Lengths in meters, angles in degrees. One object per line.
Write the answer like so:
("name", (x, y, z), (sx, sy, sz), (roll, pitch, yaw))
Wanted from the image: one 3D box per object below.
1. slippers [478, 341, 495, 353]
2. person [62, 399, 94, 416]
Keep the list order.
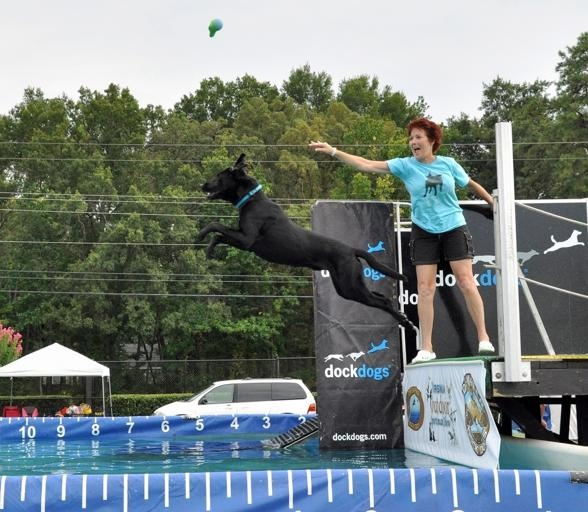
("slippers", (4.105, 1.911, 27.050), (0.312, 0.277, 0.233), (-5, -8, 15))
("person", (-6.814, 4.737, 40.340), (0.910, 0.444, 0.752), (3, -5, -11))
